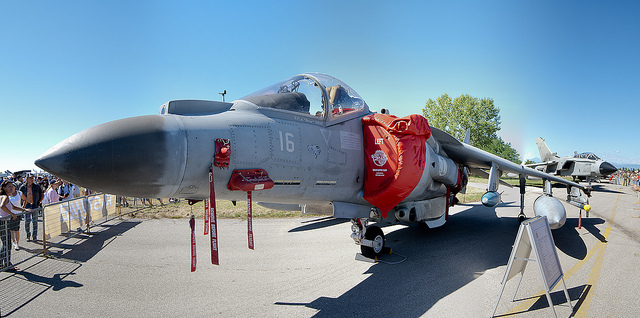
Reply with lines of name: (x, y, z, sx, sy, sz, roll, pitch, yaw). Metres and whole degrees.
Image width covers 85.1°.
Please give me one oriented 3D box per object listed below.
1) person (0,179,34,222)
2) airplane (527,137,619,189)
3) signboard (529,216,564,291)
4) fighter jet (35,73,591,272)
person: (-12.730, 1.695, 14.299, 0.583, 1.650, 1.140, 3, -2, -41)
airplane: (19.691, 0.843, 27.578, 5.505, 2.282, 5.716, 4, 2, -20)
signboard: (7.744, 3.166, 12.301, 1.130, 2.643, 1.014, -4, -1, -6)
fighter jet: (-0.517, 0.304, 13.107, 17.179, 7.163, 2.410, 1, -2, -13)
